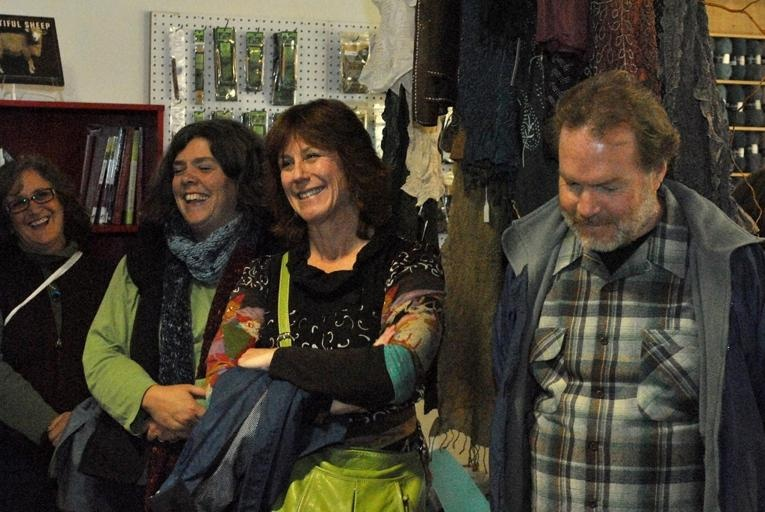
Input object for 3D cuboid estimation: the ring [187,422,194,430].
[{"bbox_3d":[-0.777,0.684,2.940,0.026,0.026,0.007,19,4,-35],"label":"ring"}]
